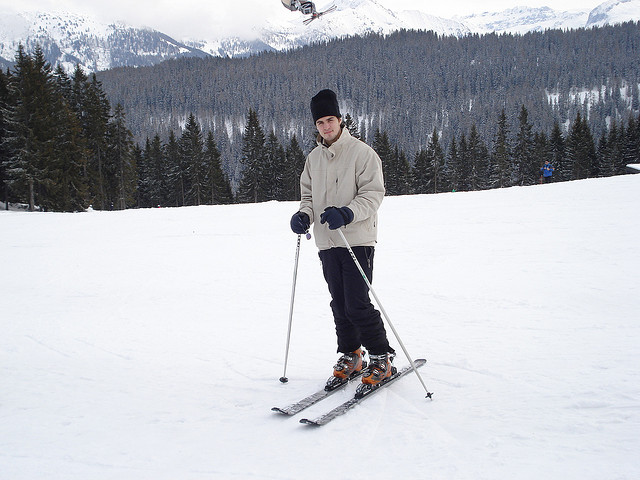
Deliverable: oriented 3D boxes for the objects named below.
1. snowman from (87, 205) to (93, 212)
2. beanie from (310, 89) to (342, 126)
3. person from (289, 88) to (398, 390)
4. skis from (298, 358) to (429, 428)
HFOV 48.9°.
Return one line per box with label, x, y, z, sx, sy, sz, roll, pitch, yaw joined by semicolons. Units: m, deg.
snowman;-13.528;-1.948;41.400;0.245;0.398;4.552;-5;6;-18
beanie;0.073;-1.980;10.402;0.460;0.537;0.307;-3;5;-1
person;0.354;-0.034;10.386;1.371;4.402;0.754;-2;5;11
skis;0.636;2.238;10.089;1.696;0.092;0.188;-31;21;-36
